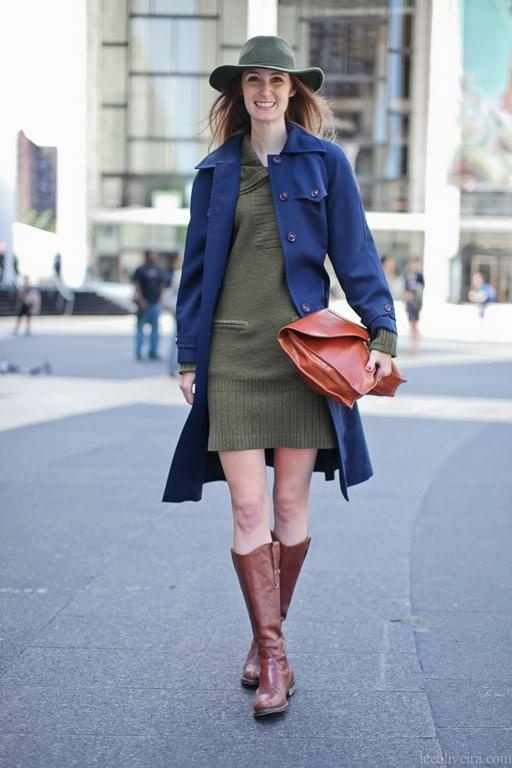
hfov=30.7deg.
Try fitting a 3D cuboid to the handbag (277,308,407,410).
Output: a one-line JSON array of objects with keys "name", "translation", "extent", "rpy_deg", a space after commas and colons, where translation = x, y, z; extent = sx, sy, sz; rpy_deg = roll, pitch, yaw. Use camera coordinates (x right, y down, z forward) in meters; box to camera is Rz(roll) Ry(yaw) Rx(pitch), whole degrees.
[{"name": "handbag", "translation": [0.198, -0.075, 2.330], "extent": [0.275, 0.121, 0.283], "rpy_deg": [50, 33, 16]}]

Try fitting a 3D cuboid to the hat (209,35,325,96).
[{"name": "hat", "translation": [0.015, -0.876, 2.558], "extent": [0.318, 0.113, 0.329], "rpy_deg": [1, 1, 6]}]

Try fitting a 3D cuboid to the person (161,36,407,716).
[{"name": "person", "translation": [0.059, -0.051, 2.530], "extent": [0.643, 1.776, 0.536], "rpy_deg": [3, 6, 23]}]

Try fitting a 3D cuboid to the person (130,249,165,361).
[{"name": "person", "translation": [-1.593, -1.191, 13.836], "extent": [0.475, 1.622, 0.859], "rpy_deg": [0, 6, -7]}]
